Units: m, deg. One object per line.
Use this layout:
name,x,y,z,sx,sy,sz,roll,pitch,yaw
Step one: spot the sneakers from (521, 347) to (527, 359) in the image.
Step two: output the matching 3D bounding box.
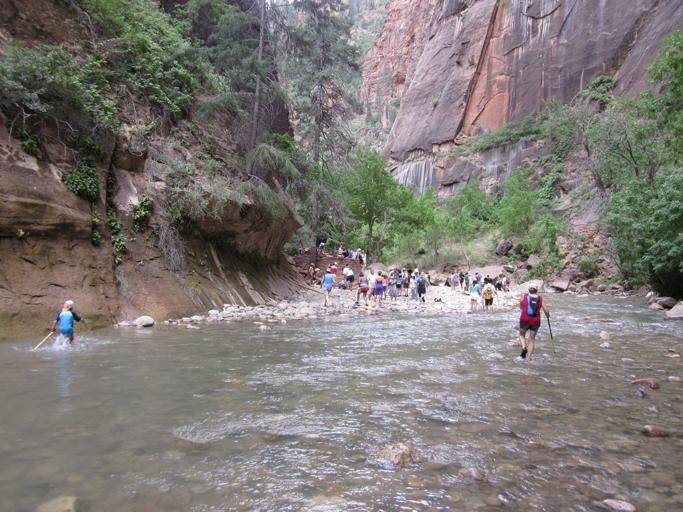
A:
sneakers,4.601,2.479,12.303,0.253,0.214,0.115,-8,13,-40

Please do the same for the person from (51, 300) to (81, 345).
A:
person,-7.413,1.961,13.120,0.654,1.453,0.447,2,12,-25

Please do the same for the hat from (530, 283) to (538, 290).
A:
hat,4.957,0.812,12.586,0.151,0.171,0.220,-3,-14,21
